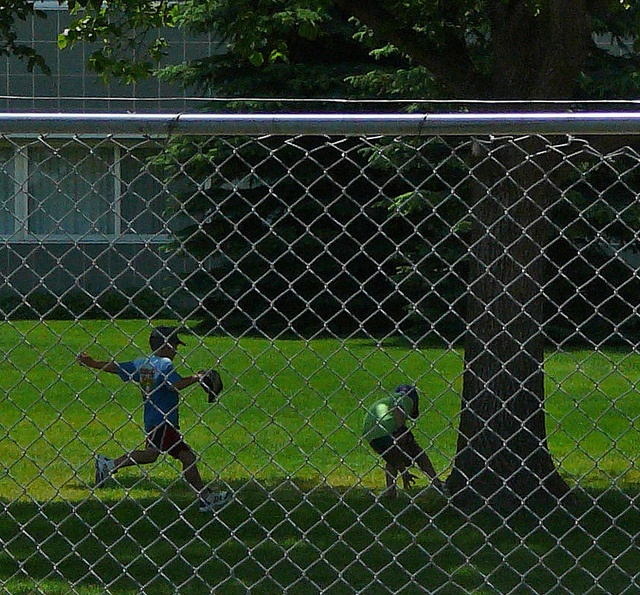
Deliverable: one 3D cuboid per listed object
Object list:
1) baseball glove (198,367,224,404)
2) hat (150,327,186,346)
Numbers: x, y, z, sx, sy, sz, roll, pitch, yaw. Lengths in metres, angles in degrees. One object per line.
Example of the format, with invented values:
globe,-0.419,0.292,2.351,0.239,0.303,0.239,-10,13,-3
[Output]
baseball glove,-0.738,0.614,10.103,0.216,0.138,0.225,9,97,18
hat,-1.116,0.281,10.601,0.294,0.178,0.109,1,91,-10
